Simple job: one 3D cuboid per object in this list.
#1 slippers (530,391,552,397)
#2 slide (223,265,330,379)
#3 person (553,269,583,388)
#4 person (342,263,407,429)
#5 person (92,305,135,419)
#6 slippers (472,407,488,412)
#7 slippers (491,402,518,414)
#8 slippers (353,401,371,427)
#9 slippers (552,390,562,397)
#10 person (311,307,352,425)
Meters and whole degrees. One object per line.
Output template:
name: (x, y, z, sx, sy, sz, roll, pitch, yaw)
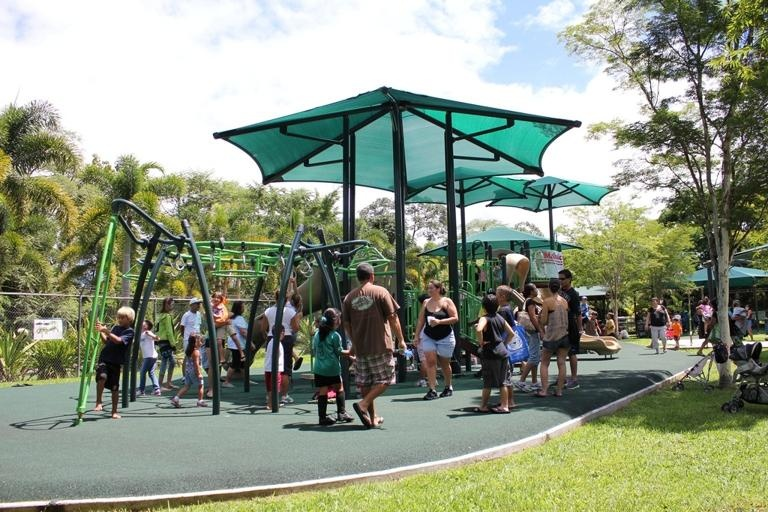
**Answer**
slippers: (3.442, 3.053, 15.071, 0.316, 0.139, 0.117, 0, -5, 39)
slide: (-2.893, 1.871, 18.490, 1.475, 4.200, 1.838, -1, -2, 28)
person: (4.182, 1.680, 15.678, 0.762, 2.660, 0.911, 0, -4, -8)
person: (-0.079, 1.695, 13.407, 1.109, 2.959, 1.372, -2, -3, 37)
person: (-5.658, 2.164, 14.124, 0.731, 2.161, 0.691, 5, -8, -14)
slippers: (1.976, 3.104, 13.899, 0.349, 0.113, 0.229, 0, 4, 6)
slippers: (2.428, 3.067, 13.950, 0.466, 0.166, 0.522, 1, 3, 10)
slippers: (-0.405, 3.017, 12.977, 0.236, 0.612, 0.211, -21, 1, -4)
slippers: (3.865, 3.047, 15.174, 0.229, 0.230, 0.113, -1, -2, 25)
person: (-1.060, 2.138, 13.486, 0.868, 2.163, 0.838, 0, -1, 3)
